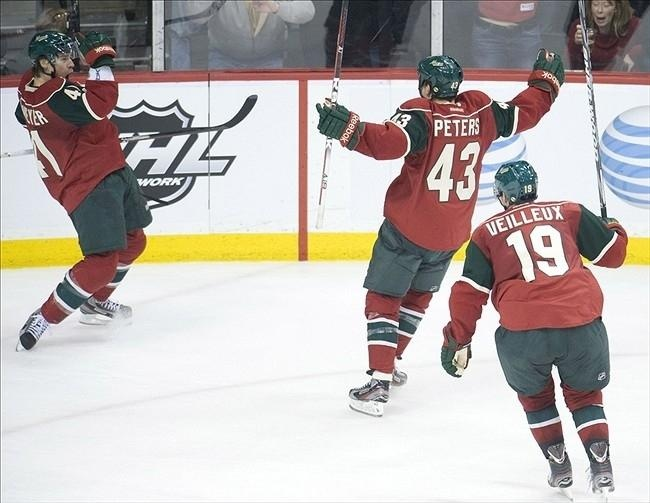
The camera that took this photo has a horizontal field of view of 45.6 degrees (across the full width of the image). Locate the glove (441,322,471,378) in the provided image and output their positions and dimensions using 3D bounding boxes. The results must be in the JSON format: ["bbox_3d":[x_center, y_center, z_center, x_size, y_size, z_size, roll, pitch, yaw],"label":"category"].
[{"bbox_3d":[0.686,0.541,4.210,0.111,0.274,0.200,15,23,13],"label":"glove"}]

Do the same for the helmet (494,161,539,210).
[{"bbox_3d":[0.986,-0.356,4.170,0.217,0.268,0.257,-1,16,2],"label":"helmet"}]

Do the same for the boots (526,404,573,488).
[{"bbox_3d":[1.103,0.951,3.978,0.157,0.334,0.475,-17,26,11],"label":"boots"}]

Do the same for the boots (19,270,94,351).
[{"bbox_3d":[-1.931,0.451,5.592,0.545,0.182,0.231,-41,15,25],"label":"boots"}]

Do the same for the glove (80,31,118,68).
[{"bbox_3d":[-1.548,-1.358,5.235,0.215,0.223,0.218,-7,20,-19],"label":"glove"}]

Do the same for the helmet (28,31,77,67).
[{"bbox_3d":[-1.868,-1.323,5.201,0.339,0.260,0.256,-6,23,-9],"label":"helmet"}]

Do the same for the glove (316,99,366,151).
[{"bbox_3d":[0.076,-0.687,4.202,0.297,0.224,0.126,28,15,9],"label":"glove"}]

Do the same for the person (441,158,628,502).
[{"bbox_3d":[1.161,0.374,4.030,0.998,1.526,0.612,16,25,39],"label":"person"}]

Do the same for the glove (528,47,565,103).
[{"bbox_3d":[1.364,-1.113,4.834,0.233,0.323,0.150,19,-15,-3],"label":"glove"}]

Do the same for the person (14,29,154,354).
[{"bbox_3d":[-1.690,-0.407,5.324,0.711,2.107,0.809,3,19,9],"label":"person"}]

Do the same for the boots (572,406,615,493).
[{"bbox_3d":[1.347,1.008,3.857,0.177,0.449,0.261,-3,19,-7],"label":"boots"}]
